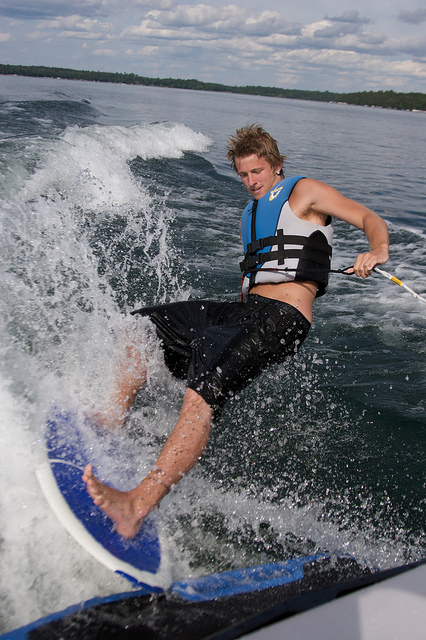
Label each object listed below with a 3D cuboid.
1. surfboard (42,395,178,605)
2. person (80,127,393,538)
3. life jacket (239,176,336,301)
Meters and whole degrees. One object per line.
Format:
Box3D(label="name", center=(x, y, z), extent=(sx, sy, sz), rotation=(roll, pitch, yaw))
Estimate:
Box3D(label="surfboard", center=(-0.403, 0.691, 2.211), extent=(0.076, 0.502, 0.621), rotation=(-46, 59, 4))
Box3D(label="person", center=(-0.007, -0.063, 2.836), extent=(1.741, 1.498, 1.208), rotation=(-22, 33, -32))
Box3D(label="life jacket", center=(0.392, -0.448, 3.218), extent=(0.429, 0.666, 0.499), rotation=(18, -25, -26))
